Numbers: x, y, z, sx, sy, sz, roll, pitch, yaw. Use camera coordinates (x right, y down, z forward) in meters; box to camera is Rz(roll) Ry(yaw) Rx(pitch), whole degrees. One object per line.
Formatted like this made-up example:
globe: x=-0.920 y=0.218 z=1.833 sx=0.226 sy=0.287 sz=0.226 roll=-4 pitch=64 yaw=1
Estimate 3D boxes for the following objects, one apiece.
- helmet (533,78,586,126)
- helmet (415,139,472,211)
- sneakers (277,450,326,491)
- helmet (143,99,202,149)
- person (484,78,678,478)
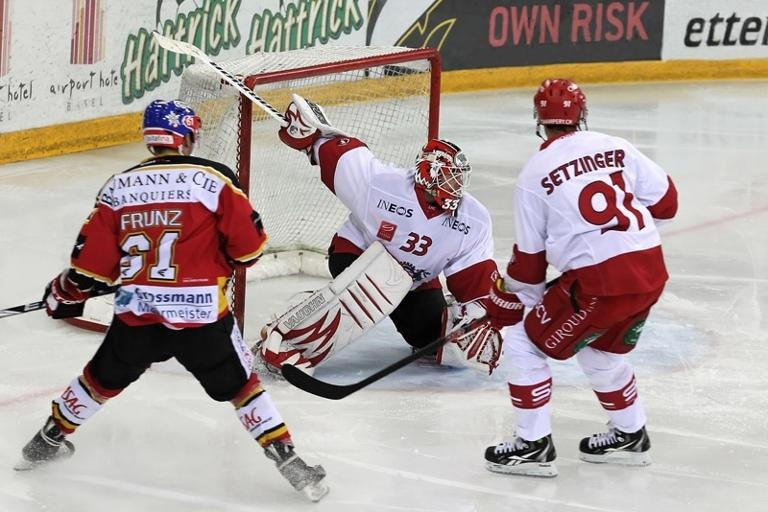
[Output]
helmet: x=0.792 y=-0.699 z=4.429 sx=0.239 sy=0.201 sz=0.243 roll=5 pitch=15 yaw=15
helmet: x=0.314 y=-0.427 z=4.943 sx=0.326 sy=0.307 sz=0.276 roll=17 pitch=16 yaw=19
sneakers: x=-0.358 y=0.928 z=4.186 sx=0.100 sy=0.234 sz=0.073 roll=-50 pitch=9 yaw=17
helmet: x=-0.945 y=-0.561 z=4.203 sx=0.228 sy=0.192 sz=0.277 roll=-2 pitch=0 yaw=31
person: x=0.858 y=0.103 z=4.328 sx=0.895 sy=1.707 sz=0.490 roll=-3 pitch=16 yaw=1
